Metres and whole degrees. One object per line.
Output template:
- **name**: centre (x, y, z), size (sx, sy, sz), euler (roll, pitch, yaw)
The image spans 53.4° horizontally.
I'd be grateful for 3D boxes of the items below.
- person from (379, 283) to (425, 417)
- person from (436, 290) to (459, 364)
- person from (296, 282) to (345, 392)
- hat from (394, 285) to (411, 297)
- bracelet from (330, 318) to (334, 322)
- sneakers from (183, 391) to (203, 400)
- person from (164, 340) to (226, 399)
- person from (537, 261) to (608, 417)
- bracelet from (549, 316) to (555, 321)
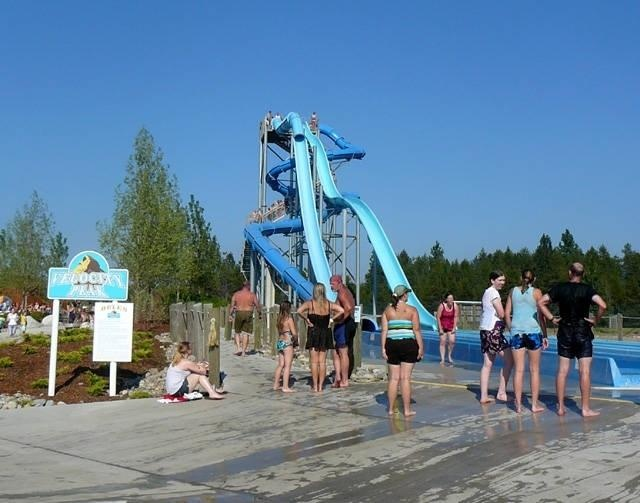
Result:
- **person**: centre (1.207, 1.443, 9.283), size (0.569, 1.867, 0.323), euler (-2, -7, 7)
- **person**: centre (3.296, 2.004, 16.342), size (0.536, 1.737, 2.442), euler (-3, -9, 11)
- **person**: centre (0.007, 1.520, 11.222), size (0.733, 1.854, 0.984), euler (-2, -8, 2)
- **hat**: centre (1.218, 0.569, 9.378), size (0.143, 0.131, 0.218), euler (4, 22, 37)
- **bracelet**: centre (0.218, 1.244, 11.536), size (0.098, 0.027, 0.106), euler (-3, -21, 11)
- **sneakers**: centre (-2.082, 2.371, 10.406), size (0.135, 0.079, 0.179), euler (0, -3, 30)
- **person**: centre (-2.111, 2.048, 10.682), size (0.741, 1.071, 1.008), euler (4, 7, 44)
- **person**: centre (3.634, 1.222, 9.048), size (0.844, 2.174, 0.751), euler (-5, -8, 26)
- **bracelet**: centre (3.289, 0.958, 8.985), size (0.065, 0.075, 0.023), euler (17, -2, 19)
